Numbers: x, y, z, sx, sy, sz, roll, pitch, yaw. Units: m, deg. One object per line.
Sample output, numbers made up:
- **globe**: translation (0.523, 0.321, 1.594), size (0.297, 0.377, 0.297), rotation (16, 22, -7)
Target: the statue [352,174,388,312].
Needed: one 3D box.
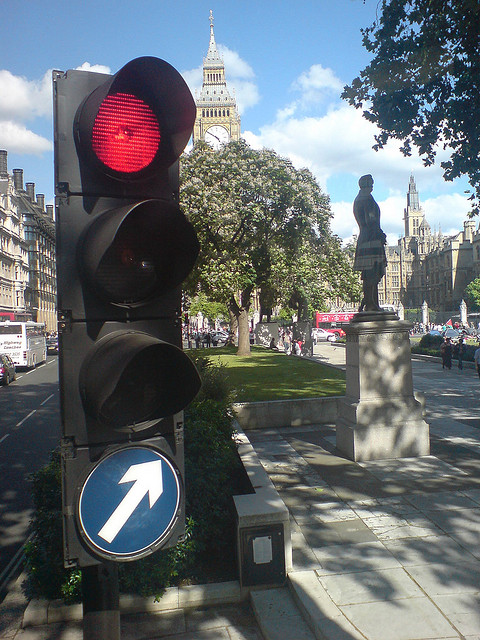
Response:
- **statue**: translation (2.152, -1.268, 9.874), size (0.521, 2.249, 0.581), rotation (0, 1, 13)

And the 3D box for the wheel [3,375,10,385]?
- **wheel**: translation (-9.146, 2.386, 23.319), size (0.237, 0.335, 0.320), rotation (-1, -8, -11)

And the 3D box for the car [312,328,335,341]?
- **car**: translation (8.870, 1.569, 63.179), size (2.702, 1.494, 1.578), rotation (-3, 3, 5)

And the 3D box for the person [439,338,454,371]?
- **person**: translation (8.511, 1.368, 24.469), size (0.401, 1.261, 1.448), rotation (0, 1, 20)

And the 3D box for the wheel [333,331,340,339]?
- **wheel**: translation (10.526, 1.634, 65.103), size (0.575, 0.626, 0.199), rotation (-3, -13, -1)

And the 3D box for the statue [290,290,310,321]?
- **statue**: translation (3.811, -0.853, 38.640), size (1.136, 1.754, 4.289), rotation (-1, 1, 5)

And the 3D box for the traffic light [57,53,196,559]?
- **traffic light**: translation (-0.407, -0.050, 2.227), size (0.507, 1.862, 0.418), rotation (-1, 1, -18)

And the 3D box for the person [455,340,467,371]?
- **person**: translation (8.974, 1.370, 24.221), size (0.396, 1.236, 2.019), rotation (0, 2, 20)
